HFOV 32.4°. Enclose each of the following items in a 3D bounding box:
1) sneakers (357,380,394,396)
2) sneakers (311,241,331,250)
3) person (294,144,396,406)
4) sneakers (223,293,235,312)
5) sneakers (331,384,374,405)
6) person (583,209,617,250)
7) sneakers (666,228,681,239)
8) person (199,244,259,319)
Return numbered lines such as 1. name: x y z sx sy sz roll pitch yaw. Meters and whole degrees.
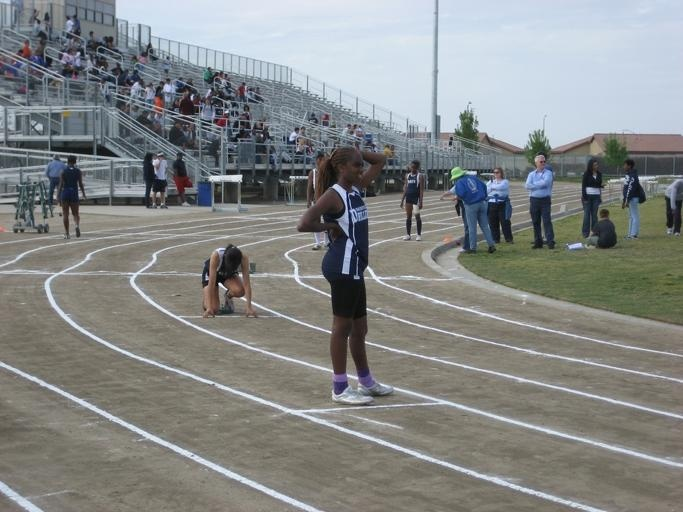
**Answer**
1. sneakers: 0.402 1.525 13.662 0.433 0.167 0.158 0 2 -17
2. sneakers: -0.474 -0.243 25.314 0.239 0.275 0.679 -2 -4 14
3. person: 0.084 0.188 13.531 0.967 2.930 0.990 3 15 6
4. sneakers: -1.689 0.650 17.458 0.118 0.292 0.137 -21 9 -30
5. sneakers: 0.133 1.578 13.437 0.405 0.164 0.201 2 1 -1
6. person: 5.653 -0.638 25.437 0.663 0.830 0.709 -10 10 -43
7. sneakers: 7.928 -0.589 28.146 0.149 0.170 0.431 4 8 24
8. person: -1.642 0.325 17.145 0.754 1.095 1.194 -2 15 -12
